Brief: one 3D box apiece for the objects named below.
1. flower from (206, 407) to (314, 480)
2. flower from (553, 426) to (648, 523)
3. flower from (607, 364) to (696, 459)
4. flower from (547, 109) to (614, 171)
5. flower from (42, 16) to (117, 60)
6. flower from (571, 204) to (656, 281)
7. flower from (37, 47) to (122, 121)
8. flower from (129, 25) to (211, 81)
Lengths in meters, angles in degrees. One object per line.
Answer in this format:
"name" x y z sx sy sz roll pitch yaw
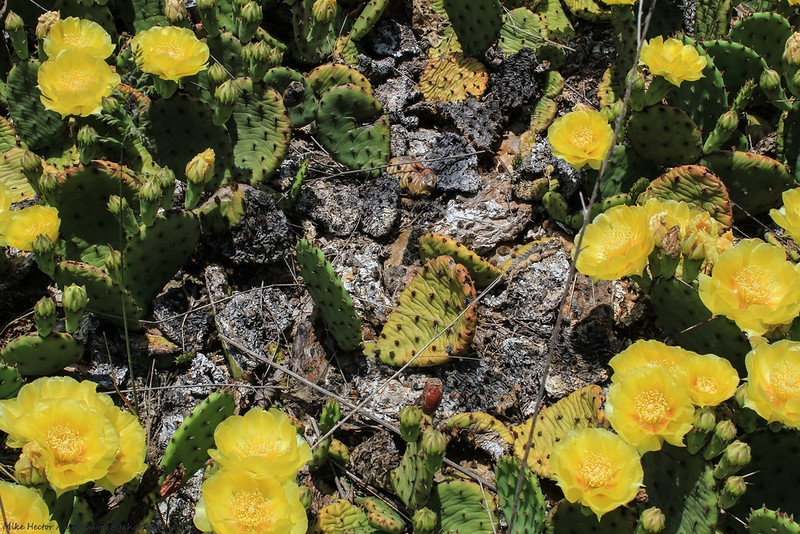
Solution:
"flower" -0.571 0.732 3.164 0.384 0.375 0.186 -1 102 3
"flower" 0.816 0.828 3.233 0.348 0.098 0.347 -29 83 -3
"flower" 1.042 0.617 3.298 0.391 0.386 0.210 -24 98 -13
"flower" 0.923 -0.632 3.925 0.301 0.362 0.166 -16 54 40
"flower" -1.647 -1.169 3.959 0.298 0.325 0.148 -13 98 -21
"flower" 0.946 -0.080 3.506 0.293 0.170 0.344 -13 41 -15
"flower" -1.553 -0.896 3.776 0.417 0.397 0.212 -11 97 -24
"flower" -1.167 -1.012 3.867 0.280 0.313 0.151 -5 91 34
